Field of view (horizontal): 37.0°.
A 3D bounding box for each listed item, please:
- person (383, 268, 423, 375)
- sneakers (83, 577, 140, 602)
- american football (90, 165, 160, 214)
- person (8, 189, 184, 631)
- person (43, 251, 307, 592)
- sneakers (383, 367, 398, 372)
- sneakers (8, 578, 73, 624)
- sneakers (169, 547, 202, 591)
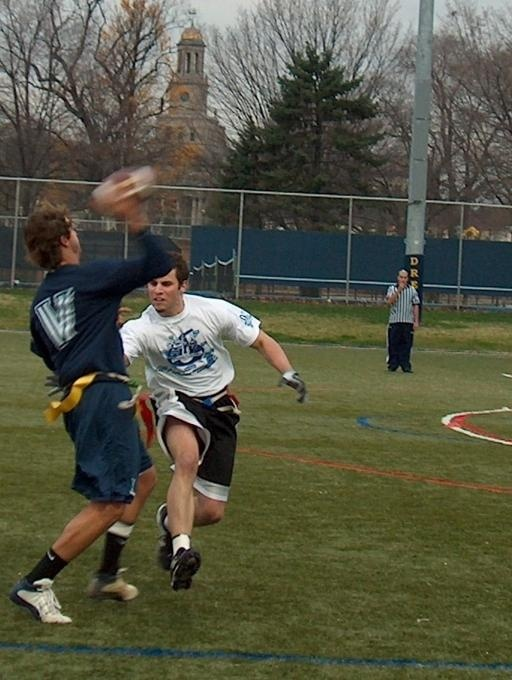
[{"bbox_3d":[2.705,-0.351,14.036,0.596,1.836,0.945,3,3,9],"label":"person"},{"bbox_3d":[-0.593,1.028,3.214,0.196,0.084,0.105,2,10,-14],"label":"sneakers"},{"bbox_3d":[-0.469,-0.556,2.871,0.148,0.242,0.084,39,-16,39],"label":"american football"},{"bbox_3d":[-0.644,0.267,3.015,0.592,1.626,0.369,3,3,3],"label":"person"},{"bbox_3d":[-0.341,0.332,3.628,1.059,1.503,1.246,-6,-9,26],"label":"person"},{"bbox_3d":[2.479,0.539,13.856,0.135,0.097,0.098,-11,6,-9],"label":"sneakers"},{"bbox_3d":[-0.840,1.021,2.968,0.221,0.152,0.076,31,8,-7],"label":"sneakers"},{"bbox_3d":[-0.284,0.864,2.993,0.078,0.068,0.174,-42,3,22],"label":"sneakers"}]
